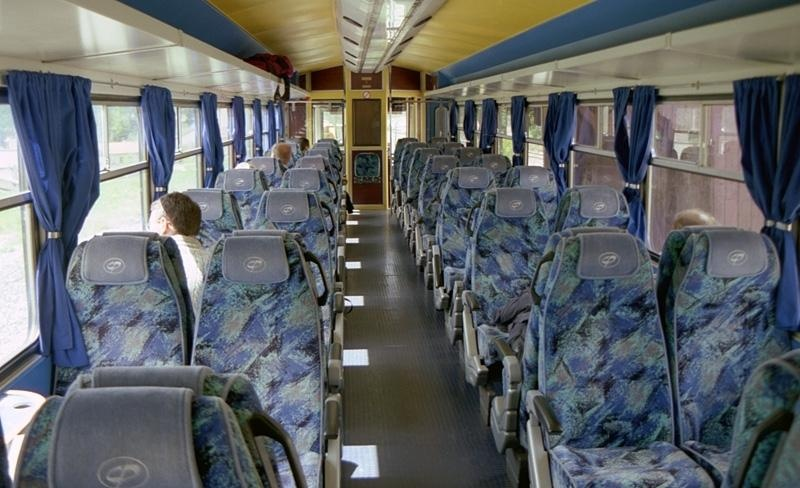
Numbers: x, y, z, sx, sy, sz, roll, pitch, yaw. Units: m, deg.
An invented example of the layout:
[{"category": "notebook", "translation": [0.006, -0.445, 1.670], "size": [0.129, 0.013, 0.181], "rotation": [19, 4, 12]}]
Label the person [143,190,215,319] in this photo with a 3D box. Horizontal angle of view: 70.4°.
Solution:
[{"category": "person", "translation": [-1.729, 0.202, 4.412], "size": [0.430, 1.220, 0.474], "rotation": [29, 27, 37]}]
